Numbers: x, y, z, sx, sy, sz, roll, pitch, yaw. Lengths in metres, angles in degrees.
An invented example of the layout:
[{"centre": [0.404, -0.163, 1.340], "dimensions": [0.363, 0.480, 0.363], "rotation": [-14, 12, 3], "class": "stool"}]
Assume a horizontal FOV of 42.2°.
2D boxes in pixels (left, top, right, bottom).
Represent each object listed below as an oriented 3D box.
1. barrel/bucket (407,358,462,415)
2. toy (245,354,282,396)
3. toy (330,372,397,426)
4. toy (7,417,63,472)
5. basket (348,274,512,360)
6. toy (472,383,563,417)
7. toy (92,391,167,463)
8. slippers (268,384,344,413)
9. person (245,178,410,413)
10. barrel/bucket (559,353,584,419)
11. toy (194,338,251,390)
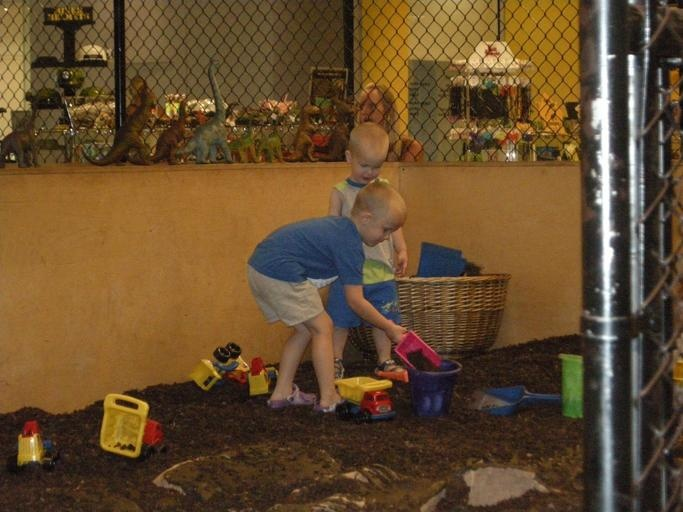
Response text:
[{"centre": [0.396, 0.546, 3.776], "dimensions": [0.208, 0.173, 0.219], "rotation": [2, 3, 0], "class": "barrel/bucket"}, {"centre": [-0.348, 0.559, 4.189], "dimensions": [0.079, 0.143, 0.272], "rotation": [-1, 19, 11], "class": "toy"}, {"centre": [0.086, 0.604, 3.784], "dimensions": [0.212, 0.150, 0.278], "rotation": [-7, 12, -30], "class": "toy"}, {"centre": [-1.148, 0.700, 3.301], "dimensions": [0.170, 0.162, 0.121], "rotation": [-2, 10, -5], "class": "toy"}, {"centre": [0.551, 0.292, 4.678], "dimensions": [0.588, 0.290, 0.505], "rotation": [-2, 0, 33], "class": "basket"}, {"centre": [0.749, 0.613, 3.787], "dimensions": [0.271, 0.059, 0.153], "rotation": [-5, 7, 5], "class": "toy"}, {"centre": [-0.813, 0.639, 3.460], "dimensions": [0.228, 0.260, 0.237], "rotation": [11, 9, 14], "class": "toy"}, {"centre": [-0.164, 0.639, 3.907], "dimensions": [0.354, 0.146, 0.121], "rotation": [-4, 6, -16], "class": "slippers"}, {"centre": [-0.031, 0.182, 4.073], "dimensions": [0.722, 1.033, 0.632], "rotation": [3, -1, 12], "class": "person"}, {"centre": [0.970, 0.540, 3.737], "dimensions": [0.075, 0.246, 0.232], "rotation": [0, 10, 7], "class": "barrel/bucket"}, {"centre": [-0.561, 0.522, 4.190], "dimensions": [0.273, 0.176, 0.199], "rotation": [-28, -5, -44], "class": "toy"}]
